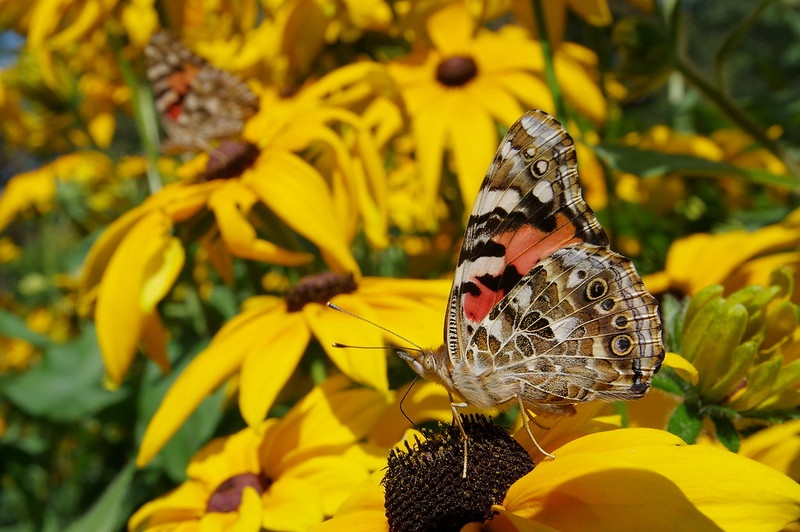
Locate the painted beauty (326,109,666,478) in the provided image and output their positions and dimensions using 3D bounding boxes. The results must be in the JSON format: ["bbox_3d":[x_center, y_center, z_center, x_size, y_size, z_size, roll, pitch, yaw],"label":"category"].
[{"bbox_3d":[0.106,0.021,0.914,0.297,0.255,0.352,-14,102,-13],"label":"painted beauty"}]

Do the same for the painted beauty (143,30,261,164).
[{"bbox_3d":[-0.204,-0.143,0.937,0.124,0.171,0.060,27,67,-9],"label":"painted beauty"}]
